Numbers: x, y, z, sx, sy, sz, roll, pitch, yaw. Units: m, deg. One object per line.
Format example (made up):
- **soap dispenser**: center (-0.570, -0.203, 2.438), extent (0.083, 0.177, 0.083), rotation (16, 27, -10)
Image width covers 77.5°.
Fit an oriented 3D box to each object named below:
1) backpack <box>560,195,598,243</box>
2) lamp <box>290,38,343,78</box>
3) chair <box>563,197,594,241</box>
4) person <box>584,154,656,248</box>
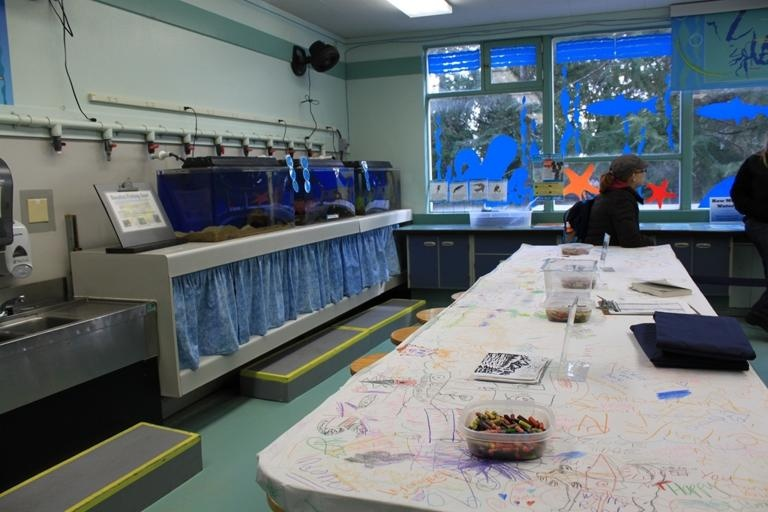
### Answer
- **backpack**: center (1.623, -0.307, 4.060), extent (0.168, 0.375, 0.311), rotation (20, 28, 33)
- **lamp**: center (-0.757, -2.103, 5.176), extent (0.525, 0.380, 0.370), rotation (6, 6, 26)
- **chair**: center (1.634, -0.310, 4.009), extent (0.134, 0.341, 0.282), rotation (16, 24, 18)
- **person**: center (1.867, -0.446, 3.822), extent (0.461, 0.679, 0.556), rotation (3, 15, 22)
